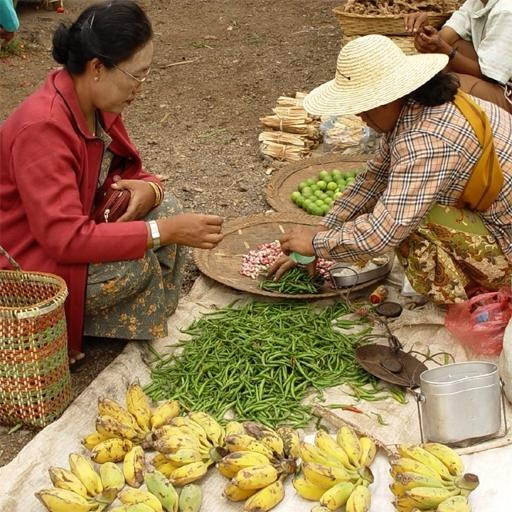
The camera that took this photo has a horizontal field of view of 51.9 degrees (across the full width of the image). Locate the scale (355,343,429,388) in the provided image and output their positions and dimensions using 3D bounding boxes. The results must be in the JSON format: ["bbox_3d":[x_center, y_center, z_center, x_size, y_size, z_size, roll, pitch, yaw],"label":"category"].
[{"bbox_3d":[0.625,0.506,2.477,0.249,0.066,0.341,-20,36,-29],"label":"scale"}]

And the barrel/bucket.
[{"bbox_3d":[0.809,0.574,2.043,0.420,0.347,0.237,-5,37,-6],"label":"barrel/bucket"}]

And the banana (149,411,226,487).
[{"bbox_3d":[-0.250,0.723,1.954,0.211,0.066,0.264,30,44,22],"label":"banana"}]

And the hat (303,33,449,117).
[{"bbox_3d":[0.502,-0.832,2.523,0.755,0.411,0.516,5,33,5],"label":"hat"}]
